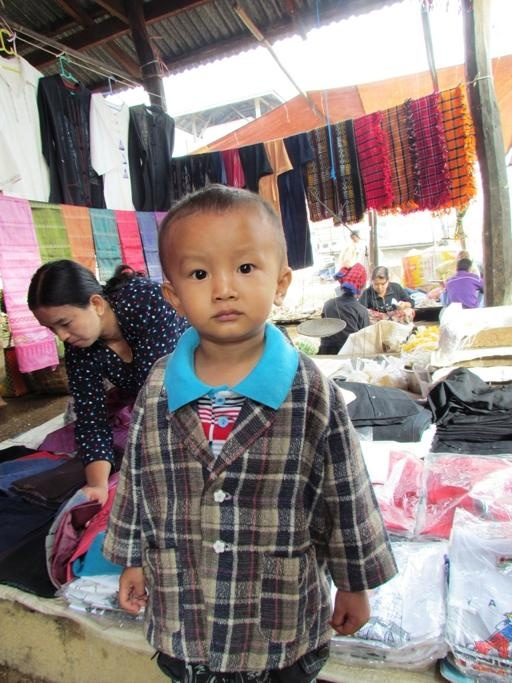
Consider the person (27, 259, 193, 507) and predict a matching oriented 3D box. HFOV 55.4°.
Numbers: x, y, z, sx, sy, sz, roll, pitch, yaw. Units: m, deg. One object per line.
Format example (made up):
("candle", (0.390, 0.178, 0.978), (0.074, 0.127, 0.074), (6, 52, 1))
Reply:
("person", (-0.581, 0.079, 2.040), (0.393, 0.716, 1.148), (-5, 12, 15))
